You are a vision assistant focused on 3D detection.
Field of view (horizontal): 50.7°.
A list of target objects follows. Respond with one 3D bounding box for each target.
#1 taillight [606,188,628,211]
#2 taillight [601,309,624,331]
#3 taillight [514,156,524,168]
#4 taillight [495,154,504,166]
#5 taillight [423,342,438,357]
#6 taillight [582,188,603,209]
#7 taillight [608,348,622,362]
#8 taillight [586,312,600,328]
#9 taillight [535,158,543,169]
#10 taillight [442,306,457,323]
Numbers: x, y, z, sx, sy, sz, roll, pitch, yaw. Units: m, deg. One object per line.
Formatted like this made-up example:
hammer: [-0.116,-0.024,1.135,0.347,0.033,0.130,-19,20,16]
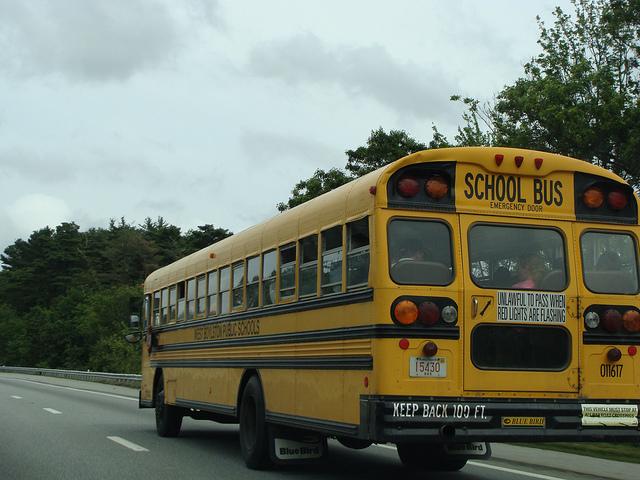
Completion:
taillight: [3.598,-0.492,8.128,0.287,0.265,0.044,7,-14,-11]
taillight: [3.384,0.922,7.783,0.283,0.246,0.041,8,-14,-15]
taillight: [2.298,-0.903,7.789,0.116,0.173,0.018,0,-4,10]
taillight: [2.053,-0.920,7.730,0.111,0.162,0.016,2,3,7]
taillight: [1.177,1.160,7.181,0.169,0.152,0.039,10,-15,-23]
taillight: [3.242,-0.497,8.030,0.260,0.244,0.070,7,-14,-13]
taillight: [3.362,1.302,7.692,0.107,0.119,0.038,19,-11,-12]
taillight: [3.131,0.914,7.725,0.167,0.173,0.017,8,-14,-15]
taillight: [2.539,-0.893,7.827,0.102,0.145,0.014,3,-2,12]
taillight: [1.408,0.801,7.306,0.176,0.174,0.022,8,-14,-17]
